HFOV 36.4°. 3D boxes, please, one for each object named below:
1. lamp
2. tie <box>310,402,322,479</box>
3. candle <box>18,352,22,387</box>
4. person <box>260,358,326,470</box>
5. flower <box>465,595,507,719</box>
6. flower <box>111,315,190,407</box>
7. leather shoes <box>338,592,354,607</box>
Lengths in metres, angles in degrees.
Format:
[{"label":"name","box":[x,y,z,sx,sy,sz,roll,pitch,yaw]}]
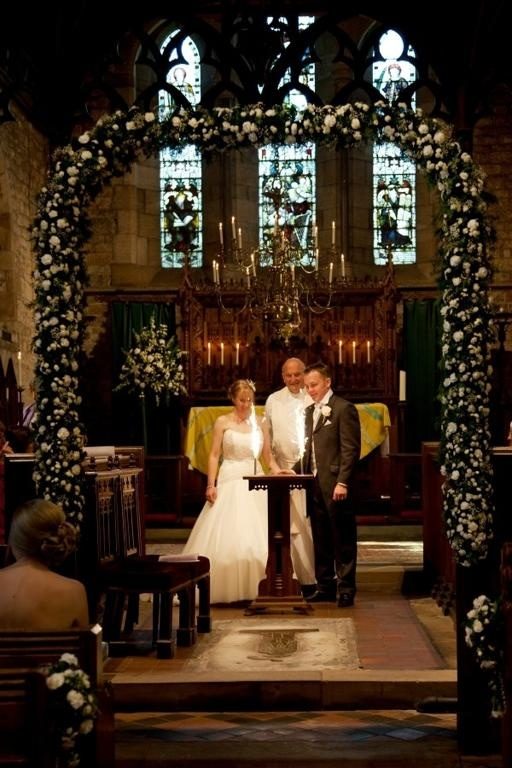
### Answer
[{"label":"lamp","box":[0.259,-1.674,9.549,1.358,2.092,1.324,-1,1,-5]},{"label":"tie","box":[0.438,0.405,5.654,0.067,0.516,0.058,2,0,-3]},{"label":"candle","box":[-2.975,-0.203,9.769,0.045,0.416,0.383,-1,2,-15]},{"label":"person","box":[0.289,0.336,5.978,0.401,1.068,0.324,-1,12,1]},{"label":"flower","box":[0.855,1.042,2.918,0.137,0.459,0.205,0,2,15]},{"label":"flower","box":[-1.190,-0.170,9.605,0.701,0.815,0.544,22,-9,-31]},{"label":"leather shoes","box":[0.626,1.504,5.453,0.122,0.125,0.156,0,2,5]}]
